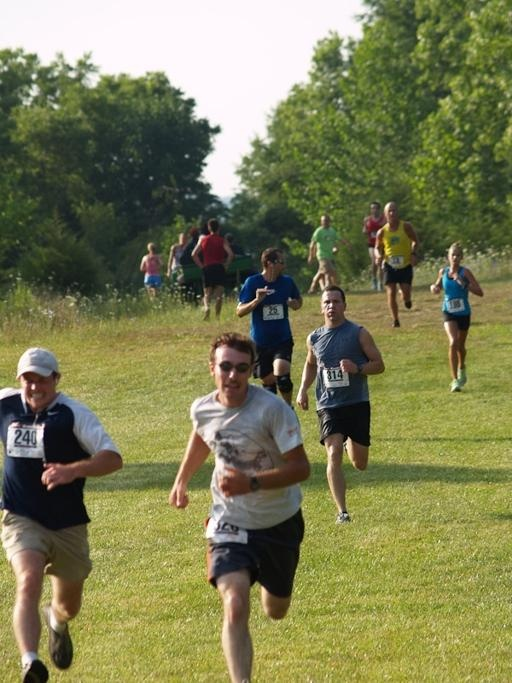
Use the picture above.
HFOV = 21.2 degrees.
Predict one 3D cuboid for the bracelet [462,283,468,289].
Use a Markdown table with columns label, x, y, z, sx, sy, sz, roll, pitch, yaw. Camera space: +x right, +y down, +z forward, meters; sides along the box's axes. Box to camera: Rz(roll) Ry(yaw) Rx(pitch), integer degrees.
| label | x | y | z | sx | sy | sz | roll | pitch | yaw |
| --- | --- | --- | --- | --- | --- | --- | --- | --- | --- |
| bracelet | 2.368 | -0.644 | 15.505 | 0.046 | 0.064 | 0.025 | -5 | -3 | 17 |

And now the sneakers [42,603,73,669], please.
| label | x | y | z | sx | sy | sz | roll | pitch | yaw |
| --- | --- | --- | --- | --- | --- | --- | --- | --- | --- |
| sneakers | -1.114 | 1.616 | 7.620 | 0.122 | 0.352 | 0.137 | -10 | -13 | -24 |

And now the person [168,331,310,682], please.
| label | x | y | z | sx | sy | sz | roll | pitch | yaw |
| --- | --- | --- | --- | --- | --- | --- | --- | --- | --- |
| person | -0.057 | 0.883 | 7.270 | 0.707 | 1.843 | 1.149 | -1 | 4 | -11 |

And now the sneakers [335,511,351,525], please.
| label | x | y | z | sx | sy | sz | roll | pitch | yaw |
| --- | --- | --- | --- | --- | --- | --- | --- | --- | --- |
| sneakers | 0.644 | 1.305 | 10.188 | 0.072 | 0.098 | 0.215 | -1 | -7 | 8 |

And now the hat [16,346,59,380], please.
| label | x | y | z | sx | sy | sz | roll | pitch | yaw |
| --- | --- | --- | --- | --- | --- | --- | --- | --- | --- |
| hat | -1.205 | 0.112 | 7.525 | 0.145 | 0.124 | 0.211 | 0 | -9 | 3 |

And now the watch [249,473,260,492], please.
| label | x | y | z | sx | sy | sz | roll | pitch | yaw |
| --- | --- | --- | --- | --- | --- | --- | --- | --- | --- |
| watch | -0.015 | 0.726 | 7.049 | 0.048 | 0.070 | 0.073 | -4 | 29 | 1 |

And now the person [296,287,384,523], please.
| label | x | y | z | sx | sy | sz | roll | pitch | yaw |
| --- | --- | --- | --- | --- | --- | --- | --- | --- | --- |
| person | 0.659 | 0.446 | 10.550 | 0.654 | 1.757 | 1.032 | -1 | 4 | -4 |
